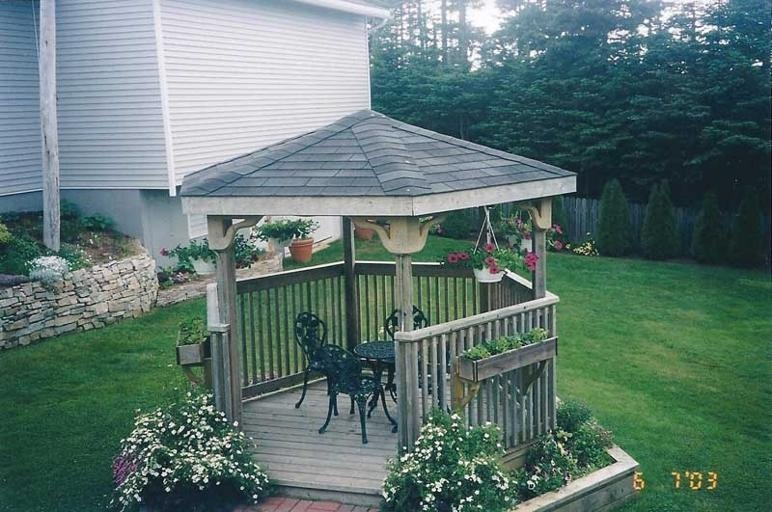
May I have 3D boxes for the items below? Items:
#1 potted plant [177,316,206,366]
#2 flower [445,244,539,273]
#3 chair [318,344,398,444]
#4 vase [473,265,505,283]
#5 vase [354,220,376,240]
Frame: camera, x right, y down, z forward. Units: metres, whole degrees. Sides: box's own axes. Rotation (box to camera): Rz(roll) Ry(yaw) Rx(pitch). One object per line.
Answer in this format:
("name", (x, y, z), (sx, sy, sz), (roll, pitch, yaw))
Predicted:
("potted plant", (-3.024, 1.356, 11.066), (0.495, 0.651, 0.503), (-4, 7, -16))
("flower", (1.677, 0.023, 11.278), (0.929, 0.352, 0.626), (1, 7, 12))
("chair", (-0.511, 2.117, 11.319), (1.164, 1.504, 0.808), (-1, 7, 6))
("vase", (1.596, 0.288, 11.318), (0.303, 0.182, 0.321), (1, -1, -17))
("vase", (-0.666, -0.833, 22.537), (0.593, 0.745, 0.622), (0, 0, 1))
